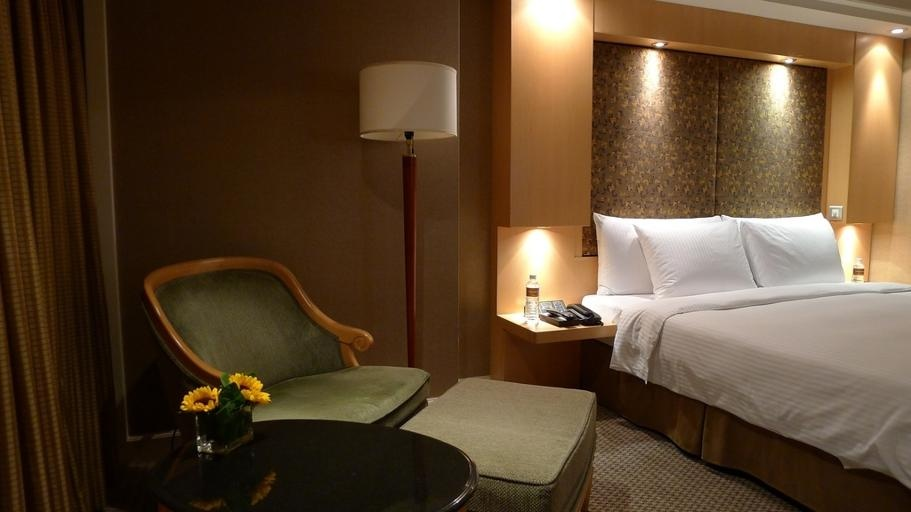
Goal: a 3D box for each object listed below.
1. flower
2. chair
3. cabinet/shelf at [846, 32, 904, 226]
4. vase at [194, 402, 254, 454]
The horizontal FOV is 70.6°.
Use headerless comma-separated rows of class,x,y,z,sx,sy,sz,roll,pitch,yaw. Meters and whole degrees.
flower,-1.247,0.843,3.493,0.416,0.330,0.436,-5,-2,35
chair,-1.085,0.695,4.038,1.513,1.235,1.172,4,11,31
cabinet/shelf,3.974,-1.189,6.073,0.757,1.729,0.279,-8,13,-25
vase,-1.227,0.903,3.444,0.293,0.215,0.213,-6,10,-24
